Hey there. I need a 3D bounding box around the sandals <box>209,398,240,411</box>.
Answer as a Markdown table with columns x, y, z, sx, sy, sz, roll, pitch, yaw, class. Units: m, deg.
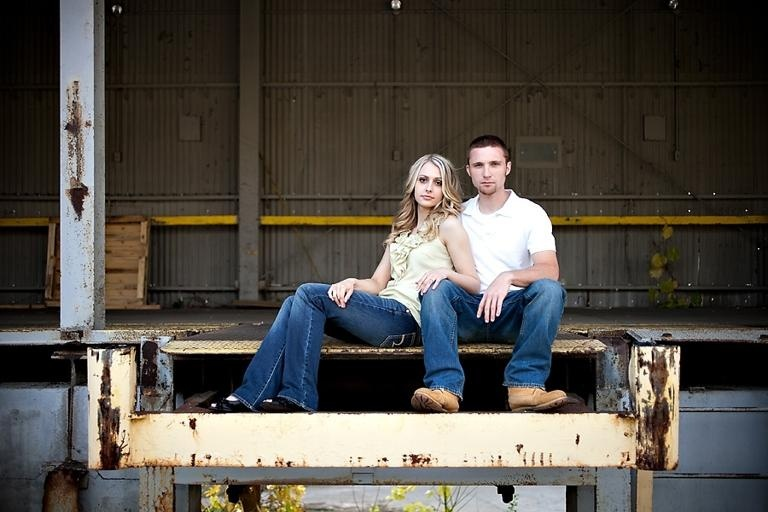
| x | y | z | sx | sy | sz | roll | pitch | yaw | class |
| --- | --- | --- | --- | --- | --- | --- | --- | --- | --- |
| -2.517 | 2.295 | 20.834 | 0.335 | 0.129 | 0.247 | 2 | -3 | -3 | sandals |
